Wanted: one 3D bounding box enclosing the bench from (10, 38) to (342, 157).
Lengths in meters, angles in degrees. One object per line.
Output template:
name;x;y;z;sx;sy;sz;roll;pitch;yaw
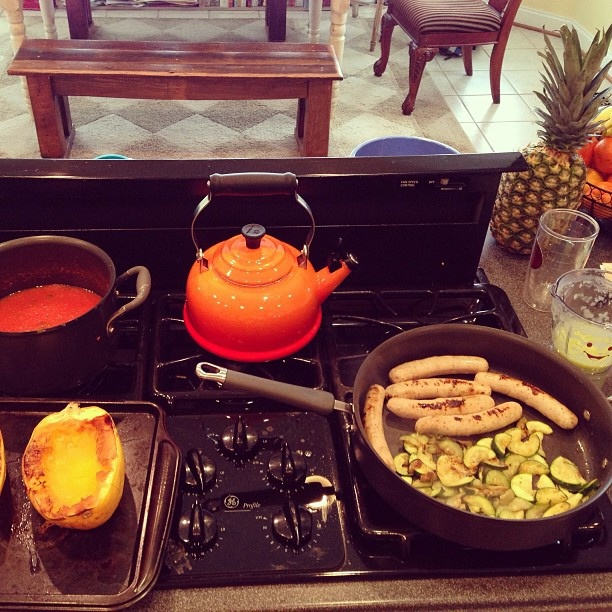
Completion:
bench;-0.656;-1.045;3.071;1.616;0.579;0.488;0;42;-5

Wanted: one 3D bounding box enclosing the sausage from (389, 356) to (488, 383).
sausage;0.194;0.086;0.828;0.157;0.040;0.036;-6;6;-11

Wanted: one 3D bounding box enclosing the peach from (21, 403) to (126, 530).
peach;-0.260;0.180;0.653;0.103;0.055;0.140;-17;45;-22
